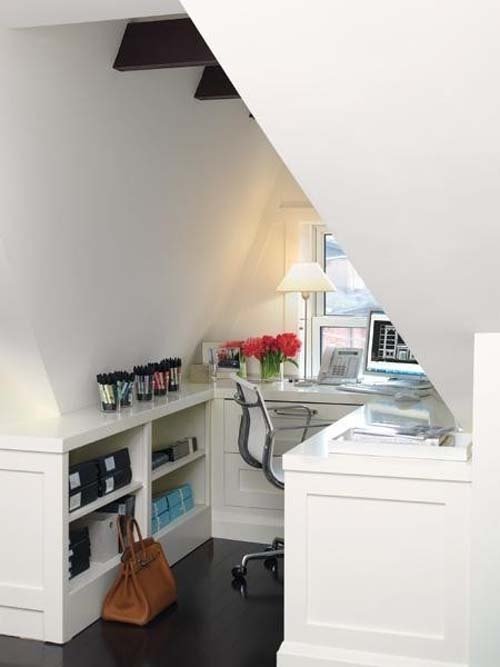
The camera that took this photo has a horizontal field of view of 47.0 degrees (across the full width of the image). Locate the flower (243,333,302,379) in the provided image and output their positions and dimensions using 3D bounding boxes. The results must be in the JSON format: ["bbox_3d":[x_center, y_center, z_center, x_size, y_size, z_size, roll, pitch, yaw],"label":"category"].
[{"bbox_3d":[0.156,0.123,4.004,0.354,0.309,0.345,0,5,5],"label":"flower"}]

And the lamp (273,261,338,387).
[{"bbox_3d":[0.397,-0.010,4.091,0.463,0.989,0.471,3,3,37],"label":"lamp"}]

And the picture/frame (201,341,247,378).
[{"bbox_3d":[-0.186,0.161,4.026,0.384,0.265,0.207,1,5,7],"label":"picture/frame"}]

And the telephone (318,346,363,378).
[{"bbox_3d":[0.620,0.225,3.971,0.231,0.225,0.089,3,-19,4],"label":"telephone"}]

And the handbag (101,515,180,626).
[{"bbox_3d":[-0.505,1.066,2.560,0.239,0.476,0.423,-3,-5,19],"label":"handbag"}]

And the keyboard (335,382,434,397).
[{"bbox_3d":[0.759,0.336,3.427,0.569,0.056,0.442,0,-2,34],"label":"keyboard"}]

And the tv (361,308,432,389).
[{"bbox_3d":[0.931,0.091,3.672,0.052,0.406,0.570,-5,4,-28],"label":"tv"}]
